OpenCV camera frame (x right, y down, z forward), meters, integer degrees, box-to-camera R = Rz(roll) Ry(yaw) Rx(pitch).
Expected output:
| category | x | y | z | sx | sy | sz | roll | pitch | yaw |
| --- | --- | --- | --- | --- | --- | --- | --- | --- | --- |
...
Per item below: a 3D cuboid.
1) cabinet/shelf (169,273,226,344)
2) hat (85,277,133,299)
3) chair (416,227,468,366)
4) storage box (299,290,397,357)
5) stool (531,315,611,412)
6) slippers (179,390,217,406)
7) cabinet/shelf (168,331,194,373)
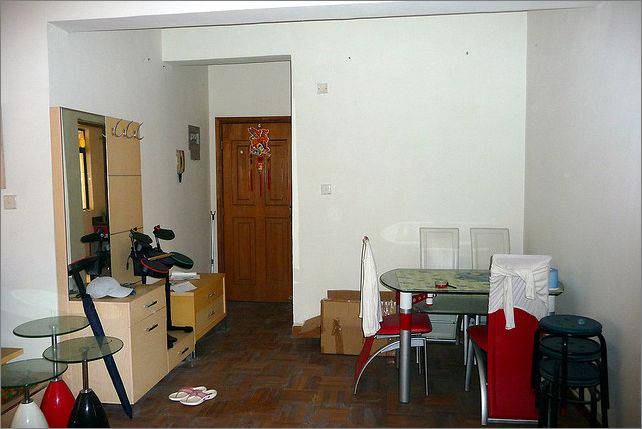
| category | x | y | z | sx | sy | sz | roll | pitch | yaw |
| --- | --- | --- | --- | --- | --- | --- | --- | --- | --- |
| cabinet/shelf | -1.348 | 0.992 | 5.165 | 0.266 | 0.406 | 0.700 | 0 | 9 | 6 |
| hat | -1.839 | 0.628 | 4.168 | 0.281 | 0.109 | 0.193 | 1 | 4 | -11 |
| chair | 1.262 | 0.638 | 5.114 | 0.445 | 0.914 | 0.522 | -2 | 18 | 11 |
| storage box | 0.299 | 1.178 | 5.425 | 1.104 | 0.566 | 0.650 | 3 | 5 | 7 |
| stool | 1.947 | 1.062 | 3.515 | 0.334 | 0.462 | 0.329 | -17 | -12 | 35 |
| slippers | -1.101 | 1.638 | 4.311 | 0.215 | 0.059 | 0.111 | 0 | 6 | -21 |
| cabinet/shelf | -1.395 | 1.335 | 4.751 | 0.261 | 0.214 | 0.441 | 0 | 7 | 7 |
